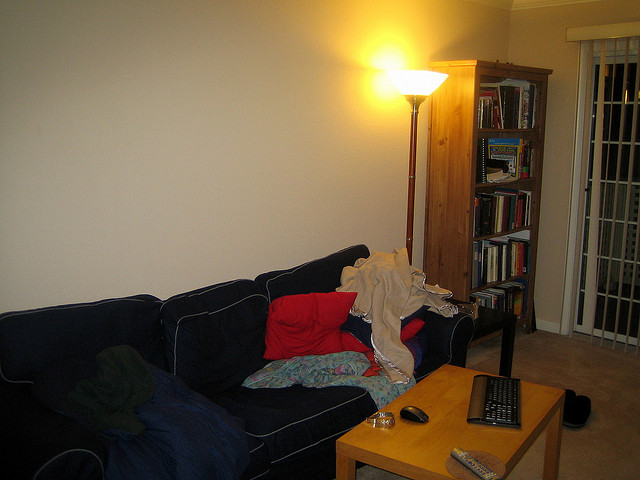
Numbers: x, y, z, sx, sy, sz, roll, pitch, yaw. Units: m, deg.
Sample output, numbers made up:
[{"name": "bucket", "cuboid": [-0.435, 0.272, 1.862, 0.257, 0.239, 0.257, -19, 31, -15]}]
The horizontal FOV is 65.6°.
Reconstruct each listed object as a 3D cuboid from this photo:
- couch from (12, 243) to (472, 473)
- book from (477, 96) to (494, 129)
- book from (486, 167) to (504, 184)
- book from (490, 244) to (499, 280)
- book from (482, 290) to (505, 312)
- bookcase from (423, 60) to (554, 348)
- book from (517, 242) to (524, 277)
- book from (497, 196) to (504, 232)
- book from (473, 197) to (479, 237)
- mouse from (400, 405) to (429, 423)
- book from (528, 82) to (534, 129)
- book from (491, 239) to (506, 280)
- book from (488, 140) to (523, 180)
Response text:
[{"name": "couch", "cuboid": [-0.360, 0.622, 2.737, 2.295, 0.721, 0.954, -7, 13, -31]}, {"name": "book", "cuboid": [1.352, -1.058, 4.085, 0.138, 0.256, 0.258, 2, 14, 18]}, {"name": "book", "cuboid": [1.481, -0.565, 4.267, 0.101, 0.111, 0.233, 9, 15, 43]}, {"name": "book", "cuboid": [1.558, 0.199, 4.425, 0.108, 0.312, 0.019, -8, 13, -32]}, {"name": "book", "cuboid": [1.582, 0.551, 4.530, 0.043, 0.189, 0.176, -18, 10, -5]}, {"name": "bookcase", "cuboid": [1.509, -0.635, 4.472, 1.101, 2.560, 0.536, 24, -24, -33]}, {"name": "book", "cuboid": [1.877, 0.170, 4.660, 0.050, 0.237, 0.222, -6, 5, 16]}, {"name": "book", "cuboid": [1.591, -0.234, 4.380, 0.071, 0.303, 0.025, -10, 14, -40]}, {"name": "book", "cuboid": [1.308, -0.192, 4.168, 0.068, 0.325, 0.035, -6, 12, -25]}, {"name": "mouse", "cuboid": [0.458, 0.823, 2.391, 0.114, 0.045, 0.062, 1, 11, 37]}, {"name": "book", "cuboid": [1.872, -1.193, 4.408, 0.082, 0.383, 0.027, -9, 14, -36]}, {"name": "book", "cuboid": [1.593, 0.180, 4.452, 0.044, 0.334, 0.283, 10, 15, 41]}, {"name": "book", "cuboid": [1.596, -0.713, 4.334, 0.339, 0.426, 0.055, -1, 10, -15]}]
